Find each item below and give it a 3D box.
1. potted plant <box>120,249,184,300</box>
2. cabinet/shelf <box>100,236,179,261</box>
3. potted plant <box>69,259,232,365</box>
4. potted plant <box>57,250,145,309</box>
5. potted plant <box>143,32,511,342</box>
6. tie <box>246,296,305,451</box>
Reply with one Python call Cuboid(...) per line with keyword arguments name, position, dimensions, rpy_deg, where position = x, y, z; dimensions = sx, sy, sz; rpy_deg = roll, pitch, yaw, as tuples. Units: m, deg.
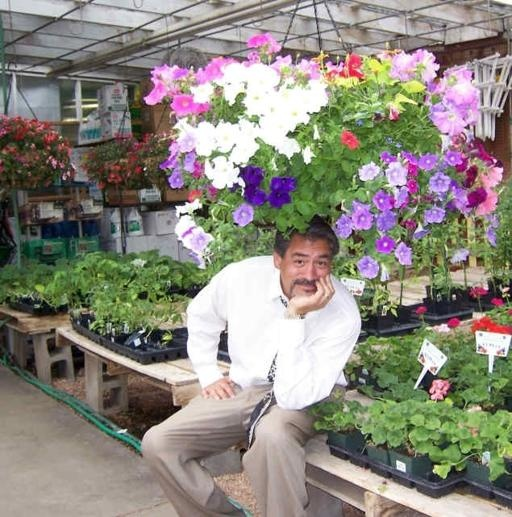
Cuboid(name="potted plant", position=(-0.933, 0.118, 4.482), dimensions=(0.439, 0.246, 0.440), rpy_deg=(22, 26, 38))
Cuboid(name="cabinet/shelf", position=(-1.493, -0.171, 6.891), dimensions=(1.057, 0.337, 1.079), rpy_deg=(1, 7, -7))
Cuboid(name="potted plant", position=(-0.697, 0.353, 3.592), dimensions=(0.721, 0.275, 0.994), rpy_deg=(10, 8, 39))
Cuboid(name="potted plant", position=(-1.405, 0.137, 4.454), dimensions=(0.665, 0.332, 0.556), rpy_deg=(-8, 9, -15))
Cuboid(name="potted plant", position=(0.215, -0.300, 1.607), dimensions=(1.146, 0.867, 0.870), rpy_deg=(1, 9, 4))
Cuboid(name="tie", position=(0.035, 0.420, 1.608), dimensions=(0.084, 0.729, 0.093), rpy_deg=(37, 41, 24))
